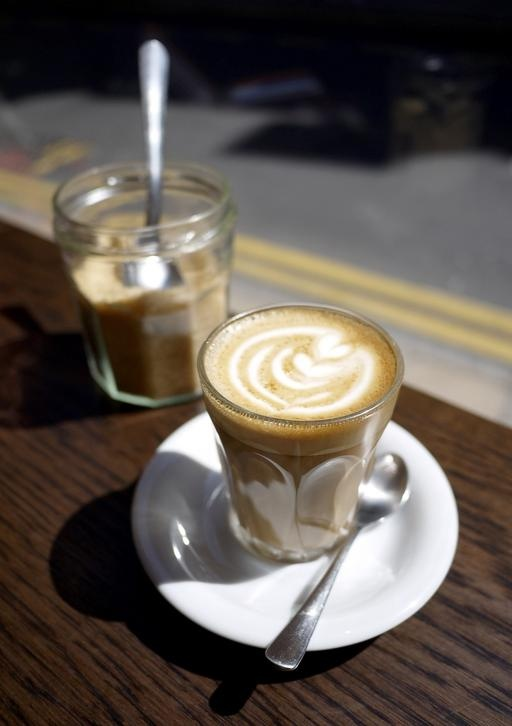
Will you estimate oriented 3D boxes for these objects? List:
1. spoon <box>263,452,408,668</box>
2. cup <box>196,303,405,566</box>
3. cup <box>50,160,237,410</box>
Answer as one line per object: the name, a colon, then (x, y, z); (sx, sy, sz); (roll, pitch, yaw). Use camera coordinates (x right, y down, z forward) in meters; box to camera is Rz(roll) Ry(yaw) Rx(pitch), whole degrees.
spoon: (0.100, 0.149, 0.604); (0.058, 0.041, 0.303); (-5, 28, 38)
cup: (0.048, 0.072, 0.684); (0.235, 0.238, 0.216); (1, 38, -1)
cup: (-0.108, -0.068, 0.841); (0.205, 0.208, 0.197); (-1, 7, 0)
